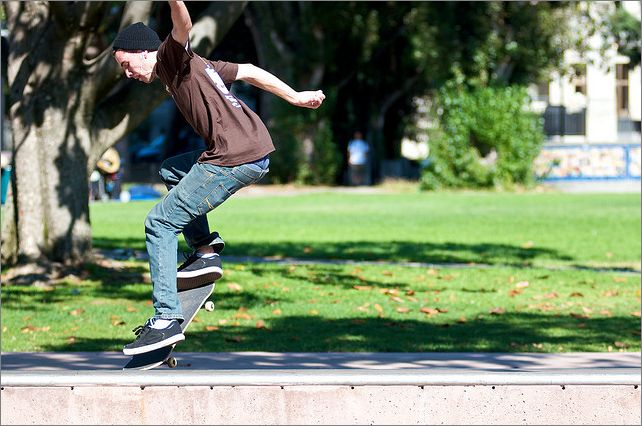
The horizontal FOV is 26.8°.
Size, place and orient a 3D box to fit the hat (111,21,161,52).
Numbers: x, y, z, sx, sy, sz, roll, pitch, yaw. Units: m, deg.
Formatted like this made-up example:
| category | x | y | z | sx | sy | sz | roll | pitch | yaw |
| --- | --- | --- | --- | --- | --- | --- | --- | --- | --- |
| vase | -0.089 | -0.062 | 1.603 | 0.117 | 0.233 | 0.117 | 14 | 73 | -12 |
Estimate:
| category | x | y | z | sx | sy | sz | roll | pitch | yaw |
| --- | --- | --- | --- | --- | --- | --- | --- | --- | --- |
| hat | -2.436 | -2.314 | 17.657 | 0.435 | 0.277 | 0.439 | -6 | 3 | -25 |
